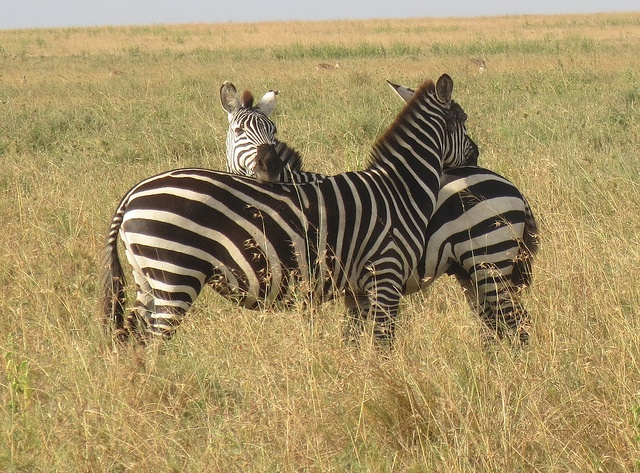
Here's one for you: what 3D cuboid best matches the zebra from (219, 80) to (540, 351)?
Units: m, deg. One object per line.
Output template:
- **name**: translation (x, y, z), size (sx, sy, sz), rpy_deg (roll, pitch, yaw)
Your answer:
- **zebra**: translation (0.645, -0.203, 9.812), size (3.555, 3.159, 1.249), rpy_deg (5, 8, 4)
